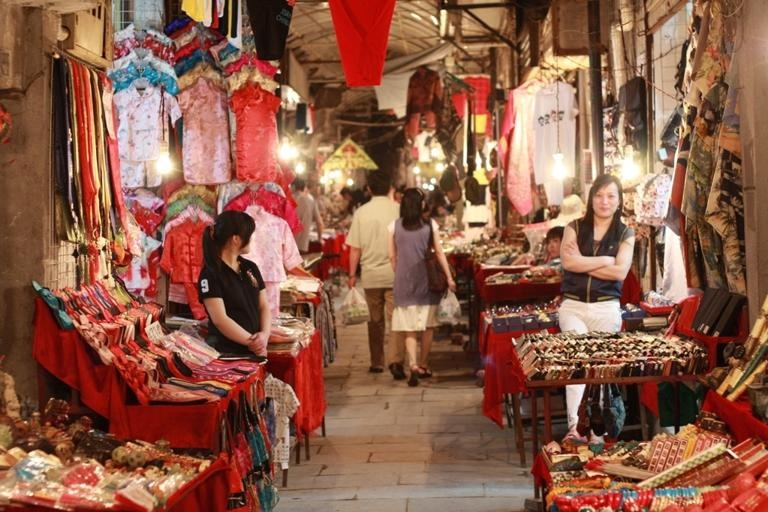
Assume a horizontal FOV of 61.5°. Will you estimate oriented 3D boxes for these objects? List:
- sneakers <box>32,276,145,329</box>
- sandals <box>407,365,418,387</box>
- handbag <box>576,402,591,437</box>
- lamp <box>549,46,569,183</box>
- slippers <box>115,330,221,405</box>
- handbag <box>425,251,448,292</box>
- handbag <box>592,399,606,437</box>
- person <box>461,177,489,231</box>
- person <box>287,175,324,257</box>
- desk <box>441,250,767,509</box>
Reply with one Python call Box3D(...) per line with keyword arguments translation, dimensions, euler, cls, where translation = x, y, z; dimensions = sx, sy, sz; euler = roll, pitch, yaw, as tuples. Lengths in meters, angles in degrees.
Box3D(translation=(-1.927, 0.303, 4.176), dimensions=(0.384, 0.117, 0.272), euler=(14, 11, -46), cls="sneakers")
Box3D(translation=(0.342, 1.404, 7.715), dimensions=(0.140, 0.217, 0.344), euler=(-1, 5, 2), cls="sandals")
Box3D(translation=(1.380, 1.124, 4.437), dimensions=(0.080, 0.251, 0.105), euler=(0, 2, 1), cls="handbag")
Box3D(translation=(2.259, -1.612, 8.300), dimensions=(0.161, 1.250, 0.338), euler=(0, 5, 16), cls="lamp")
Box3D(translation=(-1.361, 0.651, 3.990), dimensions=(0.509, 0.173, 0.381), euler=(15, 4, -8), cls="slippers")
Box3D(translation=(0.607, 0.197, 7.628), dimensions=(0.164, 0.510, 0.402), euler=(-15, -8, 12), cls="handbag")
Box3D(translation=(1.458, 1.104, 4.414), dimensions=(0.079, 0.243, 0.100), euler=(-5, 3, 17), cls="handbag")
Box3D(translation=(1.944, -1.117, 13.671), dimensions=(0.506, 1.116, 0.853), euler=(-1, 5, 8), cls="person")
Box3D(translation=(-1.376, -0.719, 11.531), dimensions=(0.483, 1.268, 2.137), euler=(-2, 5, -6), cls="person")
Box3D(translation=(1.558, 0.757, 4.875), dimensions=(1.731, 0.944, 1.197), euler=(-2, -4, -7), cls="desk")
